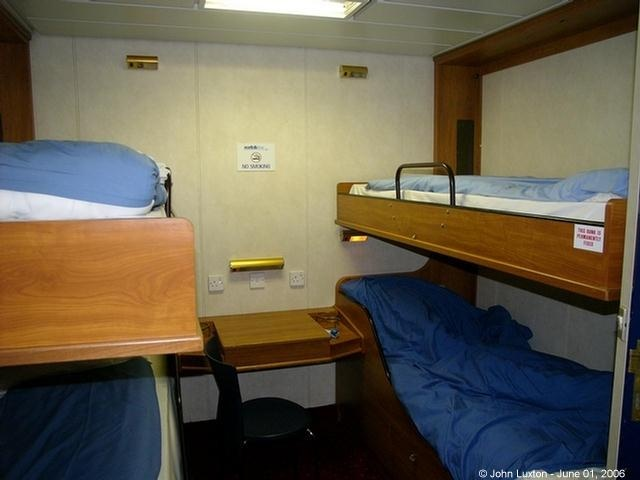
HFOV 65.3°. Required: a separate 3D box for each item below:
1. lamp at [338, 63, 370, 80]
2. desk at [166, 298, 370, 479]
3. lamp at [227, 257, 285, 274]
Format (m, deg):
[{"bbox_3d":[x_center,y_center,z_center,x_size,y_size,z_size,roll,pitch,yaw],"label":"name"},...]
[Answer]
[{"bbox_3d":[0.249,-1.227,3.628,0.227,0.098,0.087,-6,9,-12],"label":"lamp"},{"bbox_3d":[-0.373,1.064,3.540,1.466,1.125,0.842,-2,5,-19],"label":"desk"},{"bbox_3d":[-0.438,0.172,3.654,0.486,0.139,0.134,-2,3,-22],"label":"lamp"}]
